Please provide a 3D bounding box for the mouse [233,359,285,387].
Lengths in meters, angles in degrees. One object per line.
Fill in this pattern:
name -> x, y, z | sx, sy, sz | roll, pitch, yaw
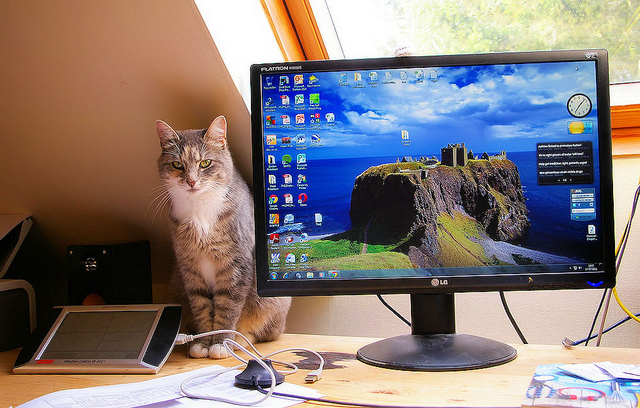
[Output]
mouse -> -0.161, 0.460, 1.307 | 0.127, 0.050, 0.126 | -2, -5, 33

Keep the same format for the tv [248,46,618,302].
tv -> 0.326, -0.068, 1.414 | 1.095, 0.715, 0.096 | -2, 3, 2

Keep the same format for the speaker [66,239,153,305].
speaker -> -0.735, 0.206, 1.681 | 0.236, 0.244, 0.201 | 2, 6, 0
